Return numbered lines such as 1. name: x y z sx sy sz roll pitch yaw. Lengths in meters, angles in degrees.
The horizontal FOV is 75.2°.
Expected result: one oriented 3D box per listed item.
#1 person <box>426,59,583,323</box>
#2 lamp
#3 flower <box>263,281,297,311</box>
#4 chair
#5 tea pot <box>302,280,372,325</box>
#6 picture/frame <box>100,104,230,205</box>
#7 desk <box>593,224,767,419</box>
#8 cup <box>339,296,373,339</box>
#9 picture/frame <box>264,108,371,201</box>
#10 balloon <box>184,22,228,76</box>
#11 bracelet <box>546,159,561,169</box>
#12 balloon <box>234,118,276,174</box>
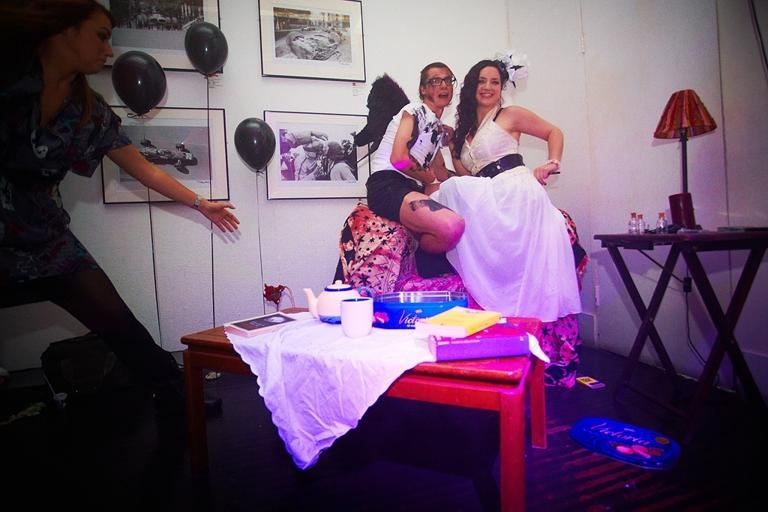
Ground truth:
1. person: 0.822 -0.524 3.553 0.919 1.802 0.992 -2 10 -3
2. lamp: 1.866 -0.615 3.127 0.335 0.836 0.431 5 12 32
3. flower: -0.847 0.329 4.031 0.198 0.171 0.236 -5 -13 10
4. chair: 0.320 0.268 3.954 1.306 1.021 1.329 2 -8 0
5. tea pot: -0.251 0.246 2.650 0.317 0.205 0.236 0 -2 -6
6. picture/frame: -1.675 -0.769 3.724 0.763 0.668 0.034 -3 -2 -14
7. desk: 1.804 0.320 3.161 0.936 1.063 1.053 2 -4 -18
8. cup: -0.132 0.302 2.443 0.165 0.180 0.170 -2 1 0
9. picture/frame: -0.571 -0.834 4.021 0.748 0.574 0.011 -1 4 -7
10. balloon: -1.347 -1.548 3.772 0.354 0.332 0.316 19 22 31
11. bracelet: 1.210 -0.657 3.555 0.079 0.037 0.067 14 9 32
12. balloon: -0.986 -0.830 3.838 0.310 0.505 0.315 -10 13 -42
